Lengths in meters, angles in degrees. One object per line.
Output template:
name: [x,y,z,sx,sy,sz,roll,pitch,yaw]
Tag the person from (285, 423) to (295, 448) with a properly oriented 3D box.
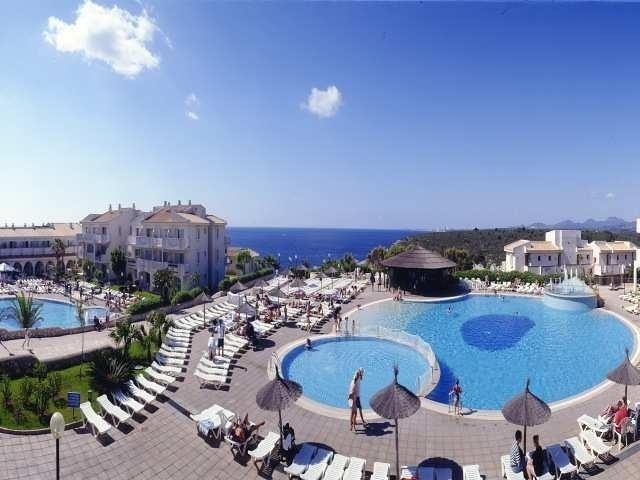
person: [-1.455,9.144,20.194,0.615,0.881,0.328,-1,-2,-27]
